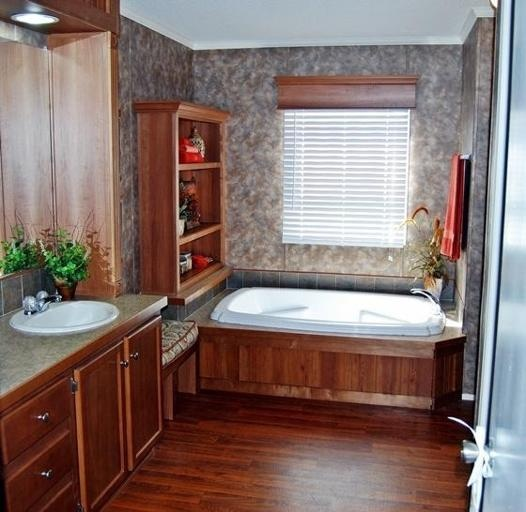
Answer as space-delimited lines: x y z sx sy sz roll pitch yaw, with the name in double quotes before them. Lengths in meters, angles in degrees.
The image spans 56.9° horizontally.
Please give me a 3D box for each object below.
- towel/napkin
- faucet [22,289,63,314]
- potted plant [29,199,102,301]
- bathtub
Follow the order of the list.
"towel/napkin" 1.405 -0.354 3.603 0.145 0.804 0.400 5 12 21
"faucet" -1.060 0.224 2.313 0.122 0.050 0.148 0 6 -6
"potted plant" -0.993 -0.031 2.748 0.500 0.606 0.436 0 2 0
"bathtub" 0.549 0.459 4.064 1.260 0.221 0.652 0 10 10
